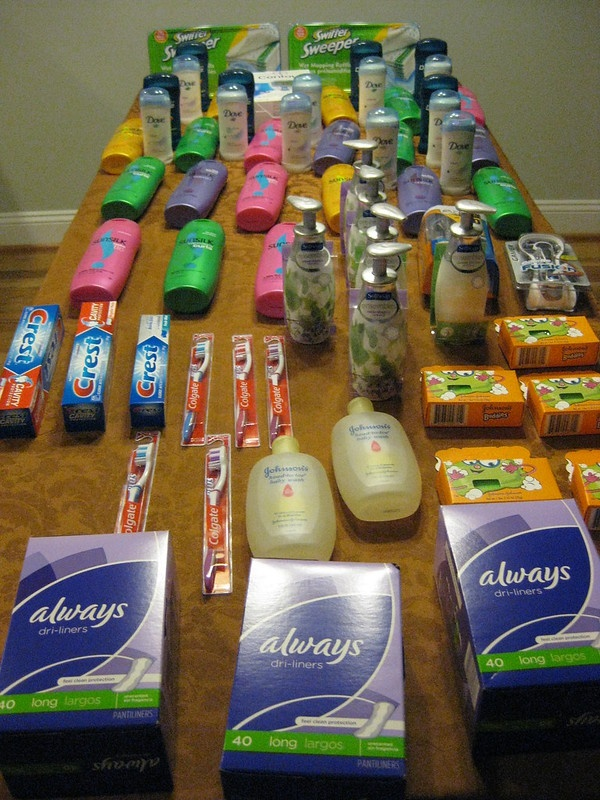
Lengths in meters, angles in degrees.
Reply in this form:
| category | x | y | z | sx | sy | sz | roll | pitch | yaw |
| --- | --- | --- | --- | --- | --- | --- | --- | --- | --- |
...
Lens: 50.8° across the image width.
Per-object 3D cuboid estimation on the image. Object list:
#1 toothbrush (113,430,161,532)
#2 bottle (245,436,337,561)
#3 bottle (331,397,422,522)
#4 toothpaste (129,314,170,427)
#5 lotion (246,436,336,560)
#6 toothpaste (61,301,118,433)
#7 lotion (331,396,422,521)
| category | x | y | z | sx | sy | sz | roll | pitch | yaw |
| --- | --- | --- | --- | --- | --- | --- | --- | --- | --- |
| toothbrush | -0.178 | 0.094 | 0.710 | 0.028 | 0.013 | 0.117 | 1 | 39 | 14 |
| bottle | -0.011 | 0.097 | 0.629 | 0.087 | 0.044 | 0.162 | -2 | 38 | -3 |
| bottle | 0.078 | 0.055 | 0.686 | 0.092 | 0.049 | 0.152 | -9 | 49 | -1 |
| toothpaste | -0.201 | -0.059 | 0.843 | 0.039 | 0.138 | 0.033 | 3 | 41 | -19 |
| lotion | -0.011 | 0.096 | 0.628 | 0.086 | 0.042 | 0.159 | -3 | 39 | -2 |
| toothpaste | -0.272 | -0.037 | 0.822 | 0.061 | 0.051 | 0.228 | -1 | 50 | -1 |
| lotion | 0.078 | 0.055 | 0.688 | 0.095 | 0.049 | 0.156 | -4 | 47 | -4 |
